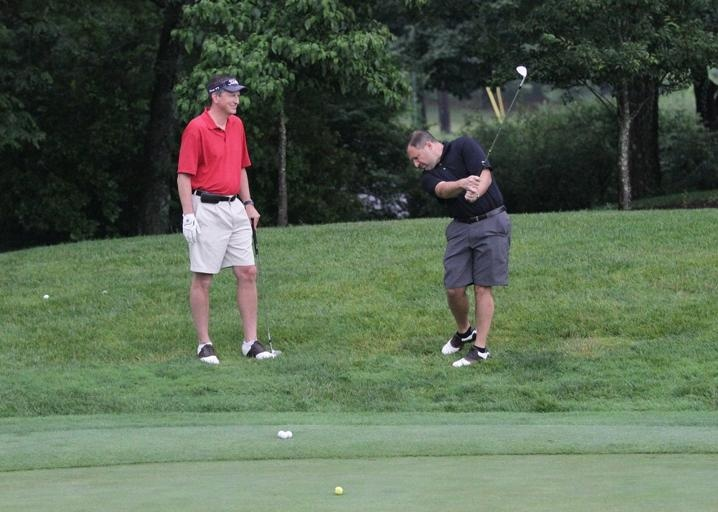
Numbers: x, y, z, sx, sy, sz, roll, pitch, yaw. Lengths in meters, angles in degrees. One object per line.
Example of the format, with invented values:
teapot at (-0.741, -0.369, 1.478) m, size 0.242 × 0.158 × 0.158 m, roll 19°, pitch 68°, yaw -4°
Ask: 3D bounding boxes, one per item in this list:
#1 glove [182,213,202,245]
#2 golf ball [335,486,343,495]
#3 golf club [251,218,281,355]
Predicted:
glove at (-3.080, -0.493, 31.839) m, size 0.301 × 0.537 × 0.150 m, roll -3°, pitch 1°, yaw -4°
golf ball at (-0.317, 3.852, 28.139) m, size 0.148 × 0.133 × 0.143 m, roll -3°, pitch 2°, yaw 0°
golf club at (-1.846, 0.723, 34.293) m, size 0.103 × 2.714 × 0.377 m, roll -3°, pitch -18°, yaw -15°
